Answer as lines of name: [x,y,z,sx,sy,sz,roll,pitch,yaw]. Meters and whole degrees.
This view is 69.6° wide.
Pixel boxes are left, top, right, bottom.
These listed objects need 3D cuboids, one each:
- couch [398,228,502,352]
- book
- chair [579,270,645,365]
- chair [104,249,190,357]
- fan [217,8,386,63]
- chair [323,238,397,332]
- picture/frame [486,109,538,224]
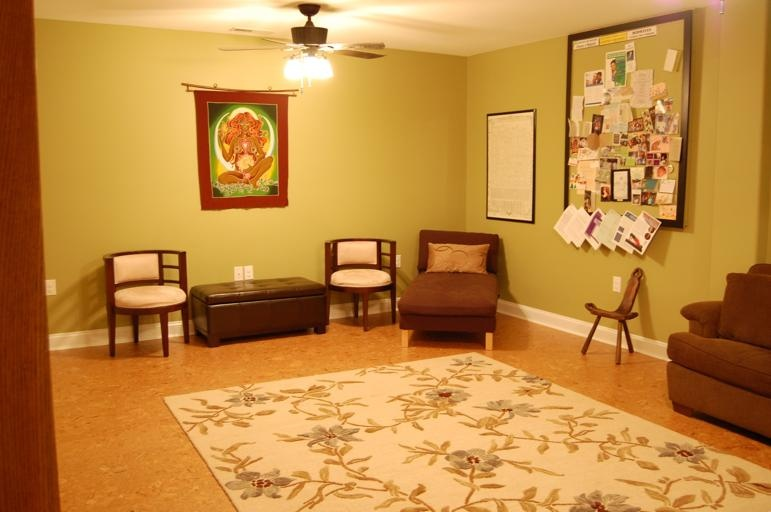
couch: [0.725,0.288,6.062,0.962,0.889,1.679,2,13,10]
book: [2.183,-0.266,5.547,0.311,0.446,1.022,7,0,-29]
chair: [2.136,0.528,5.247,0.494,0.822,0.806,5,14,23]
chair: [-2.299,0.426,5.346,0.748,0.832,0.700,-7,16,-42]
fan: [-0.648,-1.901,5.034,1.063,0.263,0.943,-4,17,-23]
chair: [-0.277,0.283,6.203,0.823,0.865,0.718,0,10,-3]
picture/frame: [1.445,-1.041,6.477,0.045,1.245,0.758,-10,14,-34]
